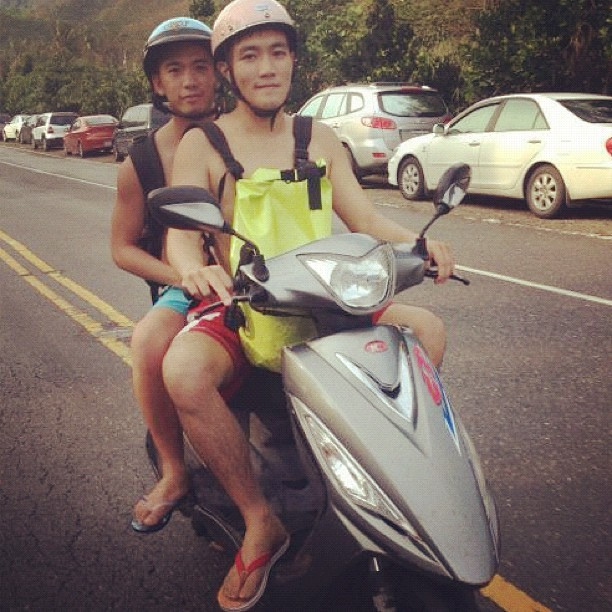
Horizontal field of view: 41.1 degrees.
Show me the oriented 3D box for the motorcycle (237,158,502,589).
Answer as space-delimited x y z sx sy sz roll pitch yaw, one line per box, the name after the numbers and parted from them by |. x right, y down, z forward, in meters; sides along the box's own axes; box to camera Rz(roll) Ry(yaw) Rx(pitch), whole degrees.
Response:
0.109 0.228 2.123 0.673 0.946 0.922 0 13 3 | motorcycle

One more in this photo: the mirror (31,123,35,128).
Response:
-12.480 -8.220 37.276 0.126 0.146 2.365 -5 15 -18 | mirror

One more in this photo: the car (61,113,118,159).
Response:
-7.468 -5.789 27.897 1.290 0.890 2.675 -8 19 -22 | car

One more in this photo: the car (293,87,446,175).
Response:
0.957 -3.296 15.750 1.840 1.521 3.852 -7 21 -23 | car

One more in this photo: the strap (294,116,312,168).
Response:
-0.015 -0.532 2.668 0.086 0.153 0.053 -1 -1 -27 | strap

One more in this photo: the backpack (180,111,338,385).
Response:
-0.046 -0.221 2.406 0.491 0.536 0.802 -2 5 -20 | backpack
